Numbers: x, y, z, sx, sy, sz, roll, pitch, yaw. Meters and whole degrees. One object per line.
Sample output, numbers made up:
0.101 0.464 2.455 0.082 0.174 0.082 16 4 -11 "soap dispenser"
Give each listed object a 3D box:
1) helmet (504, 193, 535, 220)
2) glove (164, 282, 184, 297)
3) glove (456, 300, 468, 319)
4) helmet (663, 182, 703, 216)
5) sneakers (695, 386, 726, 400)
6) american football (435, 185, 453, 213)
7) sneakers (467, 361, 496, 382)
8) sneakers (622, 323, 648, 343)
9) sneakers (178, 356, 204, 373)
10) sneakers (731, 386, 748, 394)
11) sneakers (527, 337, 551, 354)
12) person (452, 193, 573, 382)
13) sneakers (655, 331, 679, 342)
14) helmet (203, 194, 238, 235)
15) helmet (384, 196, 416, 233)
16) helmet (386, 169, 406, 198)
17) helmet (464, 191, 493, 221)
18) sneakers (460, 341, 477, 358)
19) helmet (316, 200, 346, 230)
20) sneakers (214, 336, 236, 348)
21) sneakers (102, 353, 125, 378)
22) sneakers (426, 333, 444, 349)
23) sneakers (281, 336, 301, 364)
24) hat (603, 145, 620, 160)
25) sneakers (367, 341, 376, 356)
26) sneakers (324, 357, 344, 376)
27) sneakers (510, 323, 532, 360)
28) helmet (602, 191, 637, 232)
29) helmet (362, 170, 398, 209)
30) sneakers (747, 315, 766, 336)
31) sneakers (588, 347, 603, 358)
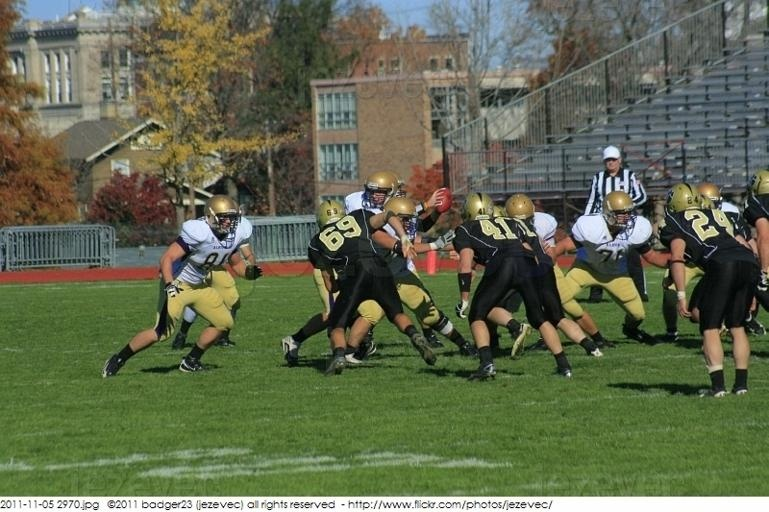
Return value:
2.024 -0.721 17.538 0.349 0.401 0.413 -2 19 3 "helmet"
-2.953 0.471 16.552 0.219 0.082 0.213 -14 -1 -2 "glove"
1.107 0.735 16.711 0.132 0.145 0.338 6 13 8 "glove"
4.091 -0.742 16.257 0.420 0.500 0.504 -5 -1 -28 "helmet"
4.299 1.796 15.546 0.376 0.145 0.141 3 3 29 "sneakers"
0.889 -0.838 17.555 0.218 0.343 0.245 13 -6 -44 "american football"
1.356 1.582 16.268 0.366 0.273 0.273 -2 3 3 "sneakers"
3.861 1.233 18.165 0.355 0.165 0.272 18 17 -17 "sneakers"
-2.799 1.577 17.081 0.406 0.175 0.158 3 8 -6 "sneakers"
4.695 1.757 15.527 0.225 0.106 0.105 -2 3 -2 "sneakers"
2.362 1.378 18.073 0.399 0.269 0.152 3 -12 0 "sneakers"
1.700 0.401 16.481 1.527 2.550 0.961 -1 4 15 "person"
4.379 1.259 18.301 0.394 0.165 0.156 2 7 13 "sneakers"
-2.362 -0.607 16.892 0.568 0.531 0.477 10 10 23 "helmet"
0.289 -0.596 16.676 0.534 0.509 0.431 0 8 6 "helmet"
0.193 -1.025 17.475 0.293 0.331 0.358 7 -34 11 "helmet"
1.362 -0.719 16.968 0.325 0.346 0.425 0 26 4 "helmet"
1.267 1.397 17.569 0.137 0.153 0.378 5 2 28 "sneakers"
-0.811 -0.635 18.693 0.446 0.492 0.521 -7 17 -10 "helmet"
-2.531 1.391 18.856 0.383 0.158 0.130 1 -7 29 "sneakers"
-3.902 1.591 17.028 0.161 0.118 0.347 2 48 34 "sneakers"
0.760 1.312 18.216 0.156 0.171 0.387 -3 4 -24 "sneakers"
-1.362 1.364 17.225 0.266 0.506 0.176 -7 8 5 "sneakers"
3.849 -1.750 19.943 0.270 0.194 0.383 -5 -7 9 "hat"
-0.199 1.392 17.709 0.183 0.225 0.512 -1 -5 4 "sneakers"
-0.682 1.541 16.619 0.302 0.291 0.378 -3 3 -6 "sneakers"
1.886 1.158 16.547 0.266 0.572 0.214 15 -8 15 "sneakers"
3.408 -0.640 17.124 0.487 0.578 0.557 -6 8 -36 "helmet"
-0.039 -1.008 17.319 0.485 0.522 0.608 18 27 36 "helmet"
5.841 1.087 18.406 0.253 0.275 0.638 0 -7 32 "sneakers"
3.100 1.412 17.265 0.151 0.067 0.188 6 8 13 "sneakers"
